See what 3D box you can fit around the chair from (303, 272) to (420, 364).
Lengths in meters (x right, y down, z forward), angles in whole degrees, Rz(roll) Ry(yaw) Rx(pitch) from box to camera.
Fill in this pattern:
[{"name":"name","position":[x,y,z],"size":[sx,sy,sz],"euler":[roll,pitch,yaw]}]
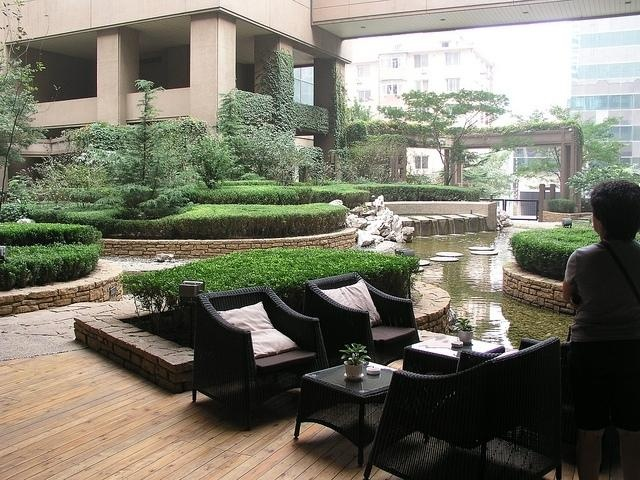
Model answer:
[{"name":"chair","position":[0.378,0.697,4.745],"size":[0.929,0.879,0.942],"euler":[-4,1,44]}]

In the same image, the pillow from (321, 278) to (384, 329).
[{"name":"pillow","position":[0.358,0.600,4.732],"size":[0.451,0.479,0.142],"euler":[-13,-22,-42]}]

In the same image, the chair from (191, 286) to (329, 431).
[{"name":"chair","position":[-0.536,0.893,4.197],"size":[1.044,1.035,1.083],"euler":[2,5,45]}]

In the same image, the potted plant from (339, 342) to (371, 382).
[{"name":"potted plant","position":[0.230,0.935,3.618],"size":[0.265,0.269,0.250],"euler":[5,11,35]}]

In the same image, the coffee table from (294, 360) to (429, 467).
[{"name":"coffee table","position":[0.310,1.083,3.538],"size":[0.753,0.554,0.765],"euler":[10,15,36]}]
